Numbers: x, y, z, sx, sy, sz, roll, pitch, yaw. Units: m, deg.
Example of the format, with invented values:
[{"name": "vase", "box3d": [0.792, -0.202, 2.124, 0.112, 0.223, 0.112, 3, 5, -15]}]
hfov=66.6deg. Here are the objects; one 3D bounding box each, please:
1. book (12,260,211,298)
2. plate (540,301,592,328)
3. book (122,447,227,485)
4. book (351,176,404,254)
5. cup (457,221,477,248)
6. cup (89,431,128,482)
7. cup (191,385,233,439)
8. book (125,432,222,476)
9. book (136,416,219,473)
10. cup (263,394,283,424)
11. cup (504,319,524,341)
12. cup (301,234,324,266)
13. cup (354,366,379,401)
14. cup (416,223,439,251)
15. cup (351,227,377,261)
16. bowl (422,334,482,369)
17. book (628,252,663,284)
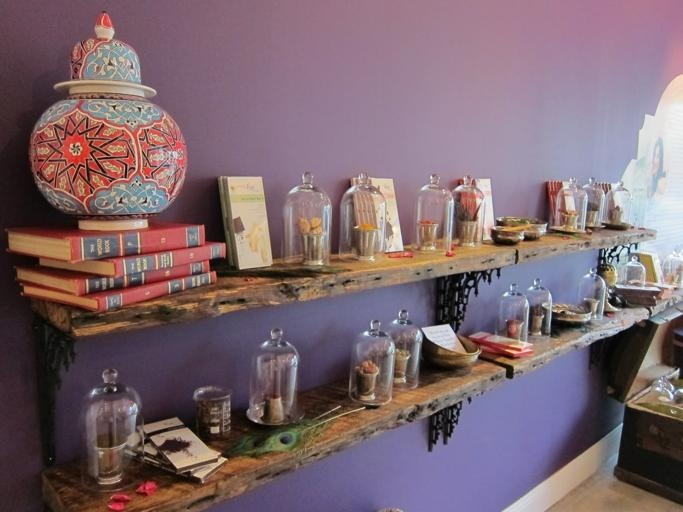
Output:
[{"name": "book", "box3d": [-0.649, 0.055, 1.461, 0.528, 0.073, 0.201, -5, 6, -13]}, {"name": "plate", "box3d": [1.334, 0.338, 3.028, 0.165, 0.073, 0.170, 6, 0, -4]}, {"name": "book", "box3d": [-0.505, 0.646, 1.626, 0.180, 0.022, 0.125, 19, 6, 22]}, {"name": "book", "box3d": [0.136, -0.164, 2.124, 0.037, 0.366, 0.305, -1, 4, 33]}, {"name": "cup", "box3d": [0.586, -0.097, 2.409, 0.101, 0.113, 0.106, 0, 3, 0]}, {"name": "cup", "box3d": [-0.716, 0.616, 1.644, 0.114, 0.135, 0.118, 3, 0, 0]}, {"name": "cup", "box3d": [-0.436, 0.524, 1.785, 0.125, 0.140, 0.156, 1, 3, 11]}, {"name": "book", "box3d": [-0.509, 0.616, 1.640, 0.176, 0.044, 0.132, 11, 13, 26]}, {"name": "book", "box3d": [-0.529, 0.599, 1.666, 0.199, 0.029, 0.126, 19, 18, 35]}, {"name": "cup", "box3d": [-0.238, 0.555, 1.906, 0.080, 0.090, 0.085, 5, 7, -1]}, {"name": "cup", "box3d": [0.885, 0.376, 2.682, 0.082, 0.085, 0.091, 2, 1, 14]}, {"name": "cup", "box3d": [-0.103, -0.025, 1.945, 0.093, 0.130, 0.102, 1, 5, 0]}, {"name": "cup", "box3d": [0.091, 0.503, 2.101, 0.106, 0.125, 0.111, 1, 3, 0]}, {"name": "cup", "box3d": [0.366, -0.082, 2.245, 0.104, 0.132, 0.106, 1, 4, 0]}, {"name": "cup", "box3d": [0.101, -0.049, 2.007, 0.111, 0.127, 0.115, 0, 3, 0]}, {"name": "bowl", "box3d": [0.491, 0.446, 2.360, 0.182, 0.114, 0.162, 0, 4, 18]}, {"name": "book", "box3d": [2.155, 0.086, 3.723, 0.126, 0.235, 0.189, -9, 12, -39]}]
